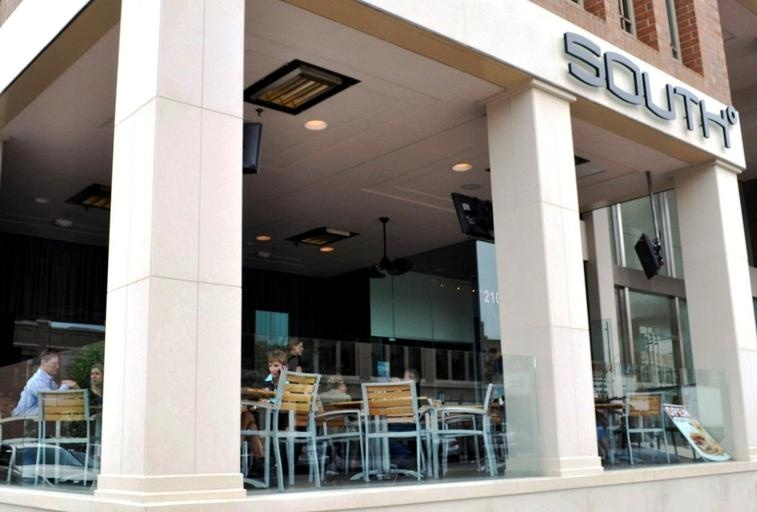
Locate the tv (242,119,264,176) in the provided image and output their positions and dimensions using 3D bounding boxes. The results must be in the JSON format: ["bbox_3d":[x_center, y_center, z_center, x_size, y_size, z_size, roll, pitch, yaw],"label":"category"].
[{"bbox_3d":[-1.635,-1.435,8.531,0.216,0.745,0.229,2,-16,-16],"label":"tv"}]

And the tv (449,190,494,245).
[{"bbox_3d":[1.681,-0.749,11.965,1.000,0.703,0.101,12,-35,-40],"label":"tv"}]
